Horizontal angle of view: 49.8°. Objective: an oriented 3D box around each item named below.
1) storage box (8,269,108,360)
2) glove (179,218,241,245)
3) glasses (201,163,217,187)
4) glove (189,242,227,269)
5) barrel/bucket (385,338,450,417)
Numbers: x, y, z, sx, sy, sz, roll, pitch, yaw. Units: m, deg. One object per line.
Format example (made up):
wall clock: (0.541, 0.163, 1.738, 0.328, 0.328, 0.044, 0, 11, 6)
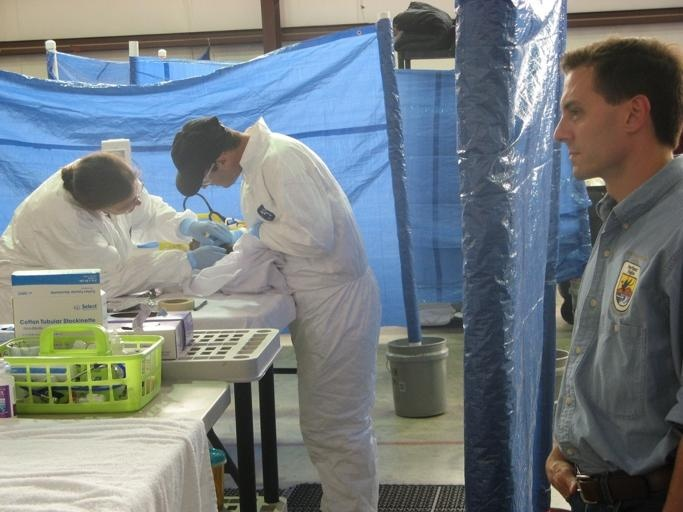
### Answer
storage box: (-0.788, 0.167, 2.053, 0.246, 0.220, 0.079, -2, 0, 1)
glove: (-0.630, -0.131, 3.537, 0.233, 0.139, 0.073, 15, 46, 23)
glasses: (-0.565, -0.352, 3.190, 0.073, 0.092, 0.038, 3, 19, -13)
glove: (-0.592, -0.003, 3.234, 0.126, 0.125, 0.044, 3, -41, -15)
barrel/bucket: (0.457, 0.713, 4.422, 0.418, 0.439, 0.443, -3, 2, 0)
